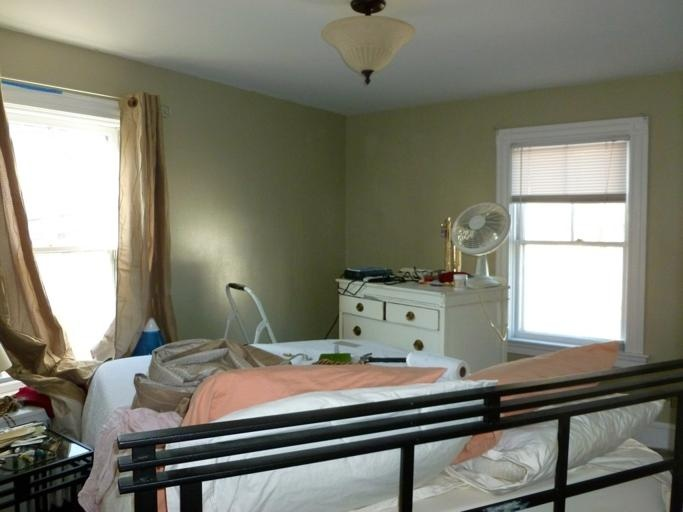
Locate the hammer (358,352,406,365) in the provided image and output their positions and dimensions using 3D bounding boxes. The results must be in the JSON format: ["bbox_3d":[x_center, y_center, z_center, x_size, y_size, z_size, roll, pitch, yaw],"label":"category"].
[{"bbox_3d":[0.217,0.554,3.039,0.251,0.047,0.085,-3,-10,11],"label":"hammer"}]

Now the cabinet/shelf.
[{"bbox_3d":[0.568,0.585,4.334,0.693,0.989,1.179,-8,9,-35],"label":"cabinet/shelf"}]

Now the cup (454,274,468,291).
[{"bbox_3d":[0.814,0.176,3.851,0.095,0.099,0.098,0,0,0],"label":"cup"}]

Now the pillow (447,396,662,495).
[{"bbox_3d":[0.859,0.748,2.239,0.448,0.118,0.481,-14,-5,3],"label":"pillow"}]

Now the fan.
[{"bbox_3d":[0.969,-0.071,3.949,0.383,0.613,0.311,8,8,28],"label":"fan"}]
